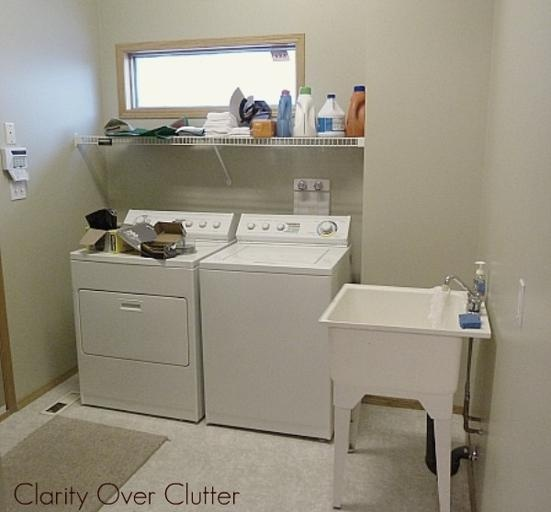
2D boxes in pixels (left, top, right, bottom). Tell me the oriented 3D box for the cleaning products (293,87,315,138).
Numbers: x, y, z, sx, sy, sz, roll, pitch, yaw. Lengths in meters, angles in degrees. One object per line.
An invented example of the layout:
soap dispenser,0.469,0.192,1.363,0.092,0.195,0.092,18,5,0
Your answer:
cleaning products,0.165,-0.808,2.815,0.129,0.271,0.198,1,12,3

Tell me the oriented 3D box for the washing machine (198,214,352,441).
washing machine,0.019,0.337,2.811,0.730,1.037,0.678,3,12,13

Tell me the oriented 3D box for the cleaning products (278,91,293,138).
cleaning products,0.053,-0.781,2.810,0.089,0.216,0.035,0,11,0

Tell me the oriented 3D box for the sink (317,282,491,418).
sink,0.536,0.319,2.069,0.637,0.318,0.552,4,14,16

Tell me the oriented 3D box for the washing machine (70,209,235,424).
washing machine,-0.625,0.248,3.054,0.975,1.684,0.816,3,7,17
